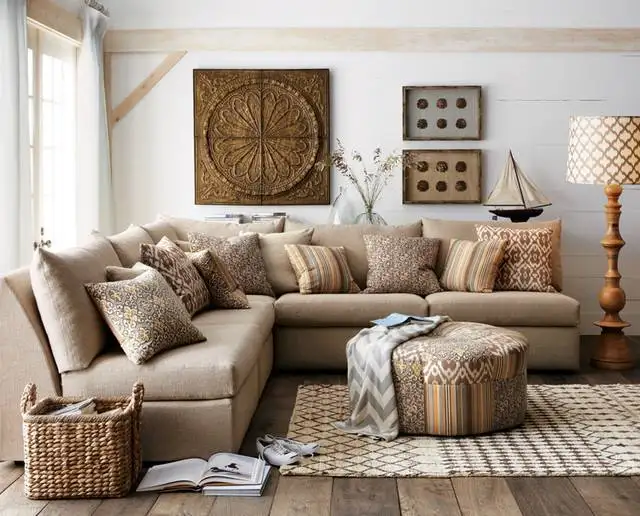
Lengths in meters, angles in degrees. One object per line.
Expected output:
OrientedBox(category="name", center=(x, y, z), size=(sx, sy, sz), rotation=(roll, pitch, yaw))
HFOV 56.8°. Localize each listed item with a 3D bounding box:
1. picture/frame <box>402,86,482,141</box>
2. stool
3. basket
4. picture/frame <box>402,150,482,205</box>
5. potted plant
OrientedBox(category="picture/frame", center=(1.104, -1.318, 5.318), size=(0.545, 0.353, 0.059), rotation=(0, 2, 2))
OrientedBox(category="stool", center=(0.743, 0.620, 3.220), size=(0.604, 0.333, 0.613), rotation=(-4, 0, 33))
OrientedBox(category="basket", center=(-0.996, 0.802, 2.845), size=(0.603, 0.541, 0.514), rotation=(1, -6, -5))
OrientedBox(category="picture/frame", center=(1.107, -0.756, 5.356), size=(0.538, 0.346, 0.074), rotation=(0, 3, 1))
OrientedBox(category="potted plant", center=(0.405, -0.611, 5.624), size=(0.846, 0.903, 0.899), rotation=(2, 3, 36))
